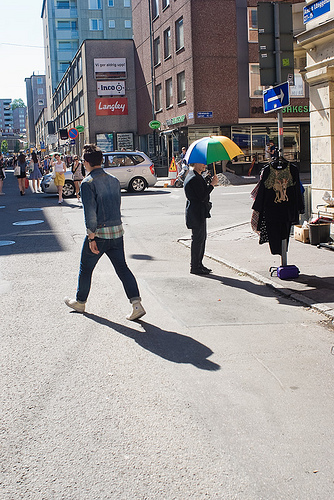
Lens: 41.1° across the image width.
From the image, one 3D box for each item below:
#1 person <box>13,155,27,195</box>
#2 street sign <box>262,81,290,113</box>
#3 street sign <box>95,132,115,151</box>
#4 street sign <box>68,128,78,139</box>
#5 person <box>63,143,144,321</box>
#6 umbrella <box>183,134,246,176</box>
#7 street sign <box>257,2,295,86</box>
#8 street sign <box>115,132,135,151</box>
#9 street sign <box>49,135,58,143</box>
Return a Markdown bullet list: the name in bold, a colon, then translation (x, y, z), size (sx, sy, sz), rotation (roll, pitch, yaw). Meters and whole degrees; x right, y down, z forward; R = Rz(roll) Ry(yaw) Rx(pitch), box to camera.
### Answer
- **person**: translation (-7.372, -3.834, 22.570), size (0.423, 1.993, 1.348), rotation (-1, 4, -21)
- **street sign**: translation (1.691, -2.369, 6.843), size (0.216, 0.438, 0.625), rotation (-1, 4, -13)
- **street sign**: translation (-6.098, -10.778, 43.856), size (1.865, 1.813, 0.549), rotation (-1, 4, -11)
- **street sign**: translation (-7.337, -9.212, 34.765), size (0.596, 0.881, 1.432), rotation (-1, 4, -15)
- **person**: translation (-0.698, -0.204, 4.894), size (0.902, 1.918, 0.505), rotation (1, 4, 7)
- **umbrella**: translation (0.755, -1.679, 7.420), size (0.734, 0.656, 0.748), rotation (-15, 15, -1)
- **street sign**: translation (1.695, -3.276, 6.961), size (0.573, 1.421, 0.582), rotation (1, 4, 8)
- **street sign**: translation (-4.171, -10.921, 44.349), size (1.873, 1.743, 0.654), rotation (0, 4, -5)
- **street sign**: translation (-18.302, -18.135, 71.996), size (1.379, 1.353, 0.333), rotation (1, 4, 6)
